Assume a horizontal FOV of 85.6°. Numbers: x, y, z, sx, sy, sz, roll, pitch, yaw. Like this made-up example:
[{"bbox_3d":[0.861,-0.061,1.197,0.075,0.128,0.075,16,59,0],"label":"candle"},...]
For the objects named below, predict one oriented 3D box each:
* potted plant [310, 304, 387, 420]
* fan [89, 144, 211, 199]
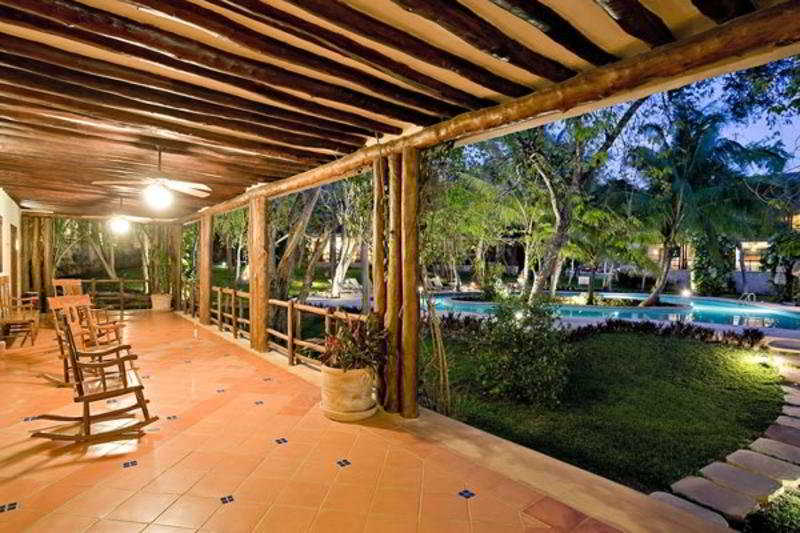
[{"bbox_3d":[-0.581,1.294,5.471,0.940,1.070,0.850,0,0,-21],"label":"potted plant"},{"bbox_3d":[-3.157,-1.312,5.588,0.896,0.430,0.971,0,3,12],"label":"fan"}]
